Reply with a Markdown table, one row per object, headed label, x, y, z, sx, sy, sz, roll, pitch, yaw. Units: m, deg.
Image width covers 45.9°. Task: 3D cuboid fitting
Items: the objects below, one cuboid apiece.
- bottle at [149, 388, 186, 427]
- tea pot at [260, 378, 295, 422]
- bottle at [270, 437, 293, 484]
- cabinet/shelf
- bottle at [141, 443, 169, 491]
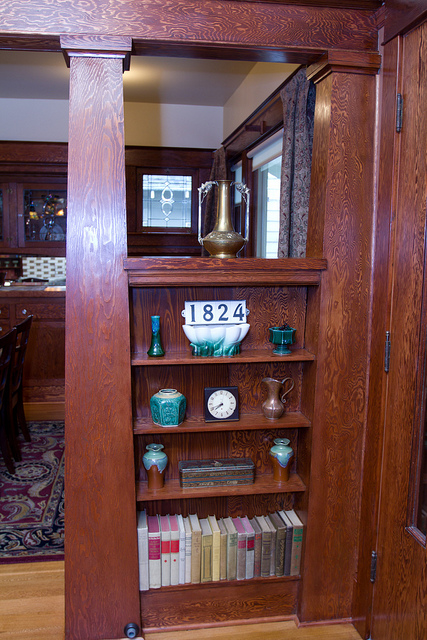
| label | x | y | z | sx | sy | sz | roll | pitch | yaw |
| --- | --- | --- | --- | --- | --- | --- | --- | --- | --- |
| bottle | -0.154 | 0.307 | 1.703 | 0.113 | 0.110 | 0.067 | -1 | 6 | -7 |
| tea pot | 0.230 | 0.291 | 1.839 | 0.128 | 0.181 | 0.090 | 1 | -4 | -13 |
| bottle | 0.252 | 0.517 | 1.860 | 0.083 | 0.153 | 0.085 | -1 | 9 | 0 |
| cabinet/shelf | 0.046 | 0.447 | 1.797 | 0.639 | 1.277 | 0.178 | -1 | 5 | 6 |
| bottle | -0.203 | 0.514 | 1.763 | 0.115 | 0.144 | 0.120 | 1 | 2 | 0 |
